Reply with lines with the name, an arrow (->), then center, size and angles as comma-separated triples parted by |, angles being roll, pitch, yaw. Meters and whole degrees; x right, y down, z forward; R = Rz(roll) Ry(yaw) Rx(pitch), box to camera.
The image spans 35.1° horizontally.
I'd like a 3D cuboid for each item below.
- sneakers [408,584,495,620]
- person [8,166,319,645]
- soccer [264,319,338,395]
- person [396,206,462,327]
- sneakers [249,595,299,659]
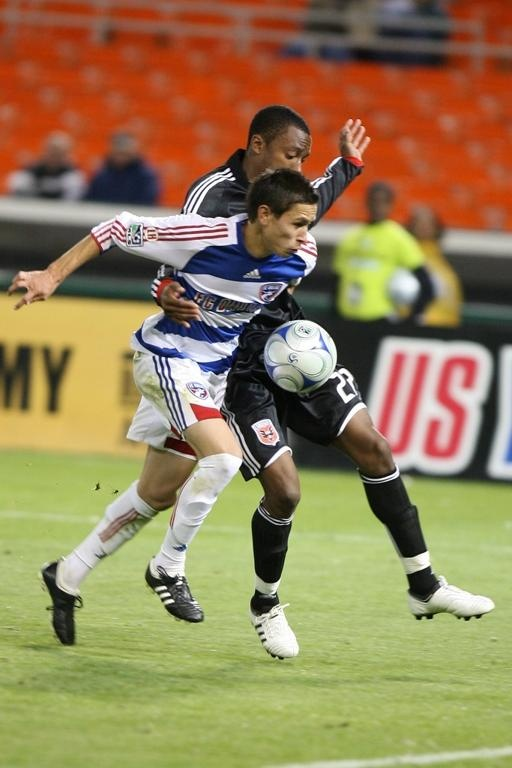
sneakers -> 0.692, 0.778, 2.911 | 0.364, 0.148, 0.119 | -1, 10, 9
person -> -0.325, 0.102, 2.714 | 0.932, 1.431, 0.582 | 5, -2, 3
soccer -> 0.136, -0.083, 2.986 | 0.295, 0.271, 0.275 | 5, -23, -3
person -> 1.562, -1.013, 7.277 | 0.491, 0.546, 1.243 | -11, 40, 15
sneakers -> 0.066, 0.829, 2.747 | 0.110, 0.093, 0.249 | -17, 30, -17
